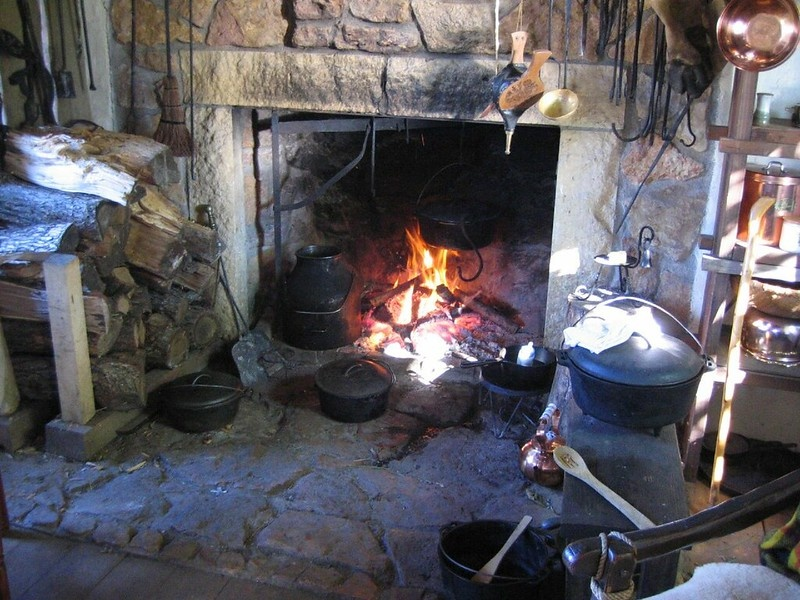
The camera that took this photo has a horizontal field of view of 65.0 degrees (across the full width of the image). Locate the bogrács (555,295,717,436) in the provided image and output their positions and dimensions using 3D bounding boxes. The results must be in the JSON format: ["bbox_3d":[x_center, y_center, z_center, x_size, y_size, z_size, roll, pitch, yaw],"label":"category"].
[{"bbox_3d":[0.893,0.223,2.430,0.565,0.494,0.507,-1,19,5],"label":"bogrács"}]

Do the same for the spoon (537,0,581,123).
[{"bbox_3d":[0.720,-1.066,2.780,0.170,0.531,0.326,5,16,15],"label":"spoon"}]

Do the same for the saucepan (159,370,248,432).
[{"bbox_3d":[-1.081,0.525,3.379,0.446,0.306,0.467,4,15,-3],"label":"saucepan"}]

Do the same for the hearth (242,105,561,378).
[{"bbox_3d":[0.019,-0.352,3.967,1.380,1.276,0.523,10,26,20],"label":"hearth"}]

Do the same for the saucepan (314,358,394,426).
[{"bbox_3d":[-0.256,0.483,3.495,0.412,0.264,0.431,-7,25,-17],"label":"saucepan"}]

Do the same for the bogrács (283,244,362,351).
[{"bbox_3d":[-0.446,-0.036,4.141,0.529,0.622,0.614,1,16,3],"label":"bogrács"}]

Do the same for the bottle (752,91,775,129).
[{"bbox_3d":[1.454,-0.767,2.523,0.057,0.127,0.139,9,18,27],"label":"bottle"}]

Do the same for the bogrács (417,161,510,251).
[{"bbox_3d":[0.389,-0.611,4.006,0.563,0.489,0.682,2,16,1],"label":"bogrács"}]
